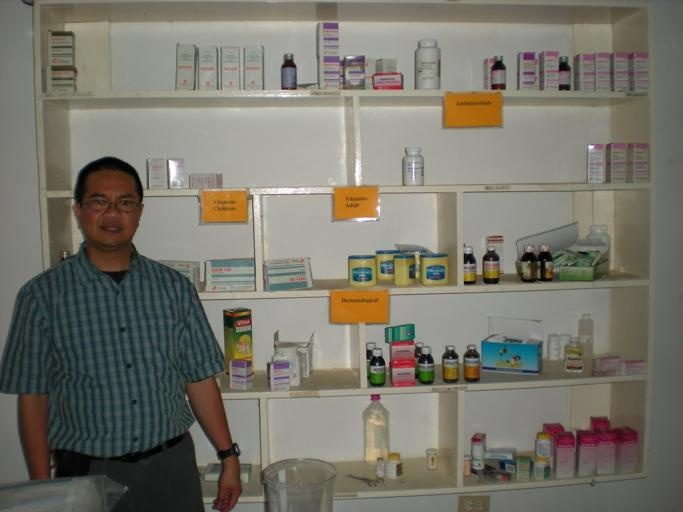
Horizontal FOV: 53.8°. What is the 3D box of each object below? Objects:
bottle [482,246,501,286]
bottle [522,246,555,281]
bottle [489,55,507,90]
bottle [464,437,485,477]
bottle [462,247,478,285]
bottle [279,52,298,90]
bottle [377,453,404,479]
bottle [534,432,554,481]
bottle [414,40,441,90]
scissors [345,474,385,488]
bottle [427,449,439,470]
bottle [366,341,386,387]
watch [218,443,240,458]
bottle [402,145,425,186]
[{"bbox_3d":[0.758,0.038,3.401,0.083,0.182,0.167,-2,3,10],"label":"bottle"},{"bbox_3d":[0.982,0.041,3.375,0.202,0.215,0.116,-2,7,-2],"label":"bottle"},{"bbox_3d":[0.787,-0.907,3.370,0.077,0.183,0.156,-2,3,14],"label":"bottle"},{"bbox_3d":[0.702,1.018,3.502,0.100,0.182,0.228,-2,3,13],"label":"bottle"},{"bbox_3d":[0.652,0.040,3.393,0.055,0.181,0.196,-2,3,15],"label":"bottle"},{"bbox_3d":[-0.263,-0.906,3.305,0.075,0.203,0.152,-3,3,-5],"label":"bottle"},{"bbox_3d":[0.246,1.065,3.449,0.139,0.120,0.099,-2,3,3],"label":"bottle"},{"bbox_3d":[1.037,1.007,3.439,0.100,0.222,0.136,-2,3,17],"label":"bottle"},{"bbox_3d":[0.427,-0.938,3.312,0.113,0.241,0.061,-2,2,-4],"label":"bottle"},{"bbox_3d":[0.113,1.119,3.410,0.144,0.012,0.062,5,11,40],"label":"scissors"},{"bbox_3d":[0.472,1.056,3.503,0.078,0.110,0.079,-1,-2,0],"label":"bottle"},{"bbox_3d":[0.176,0.529,3.357,0.097,0.207,0.123,-2,3,3],"label":"bottle"},{"bbox_3d":[-0.503,0.883,3.042,0.096,0.054,0.072,-11,10,-25],"label":"watch"},{"bbox_3d":[0.358,-0.447,3.345,0.102,0.199,0.175,-2,3,6],"label":"bottle"}]
